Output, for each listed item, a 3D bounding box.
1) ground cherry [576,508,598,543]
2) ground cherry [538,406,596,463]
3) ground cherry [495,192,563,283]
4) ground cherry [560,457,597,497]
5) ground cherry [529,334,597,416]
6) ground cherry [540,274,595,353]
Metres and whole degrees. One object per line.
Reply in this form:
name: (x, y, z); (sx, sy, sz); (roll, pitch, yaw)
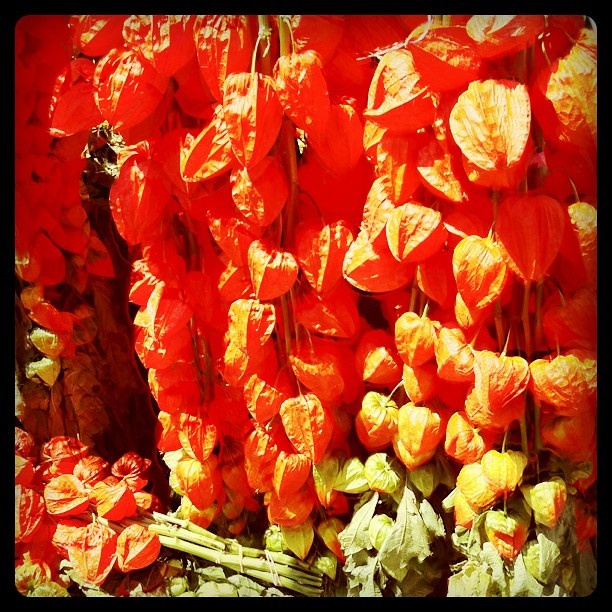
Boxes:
ground cherry: (0.371, 0.292, 0.854); (0.023, 0.043, 0.031); (2, 4, -1)
ground cherry: (0.344, 0.166, 0.864); (0.062, 0.078, 0.049); (-8, 4, -34)
ground cherry: (0.290, -0.092, 0.828); (0.065, 0.115, 0.042); (1, 7, -3)
ground cherry: (0.362, 0.225, 0.854); (0.035, 0.047, 0.015); (-16, 3, 1)
ground cherry: (0.330, 0.091, 0.848); (0.062, 0.087, 0.078); (-6, 1, -5)
ground cherry: (0.342, 0.014, 0.844); (0.063, 0.089, 0.044); (4, -4, -2)
